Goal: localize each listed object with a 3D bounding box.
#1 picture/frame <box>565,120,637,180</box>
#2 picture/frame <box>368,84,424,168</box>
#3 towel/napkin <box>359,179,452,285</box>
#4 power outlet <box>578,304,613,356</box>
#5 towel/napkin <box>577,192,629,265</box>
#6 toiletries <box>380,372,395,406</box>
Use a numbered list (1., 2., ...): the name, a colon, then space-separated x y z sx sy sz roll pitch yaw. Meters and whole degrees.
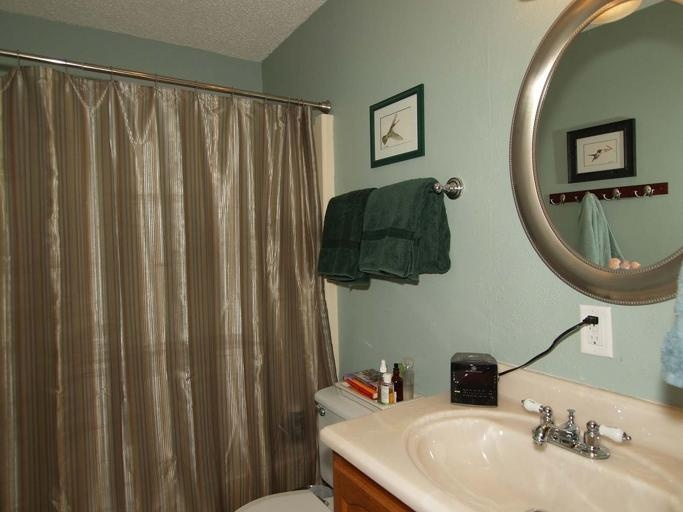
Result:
1. picture/frame: 0.879 -0.354 2.027 0.016 0.218 0.199 -1 0 -44
2. picture/frame: 0.252 -0.574 2.679 0.025 0.364 0.376 -2 1 -29
3. towel/napkin: 0.257 -0.112 2.517 0.387 0.404 0.231 0 4 18
4. power outlet: 0.869 0.257 2.087 0.102 0.183 0.021 5 -26 7
5. towel/napkin: 0.873 -0.088 2.042 0.143 0.246 0.018 2 5 44
6. toiletries: 0.192 0.550 2.541 0.066 0.128 0.070 0 4 11
